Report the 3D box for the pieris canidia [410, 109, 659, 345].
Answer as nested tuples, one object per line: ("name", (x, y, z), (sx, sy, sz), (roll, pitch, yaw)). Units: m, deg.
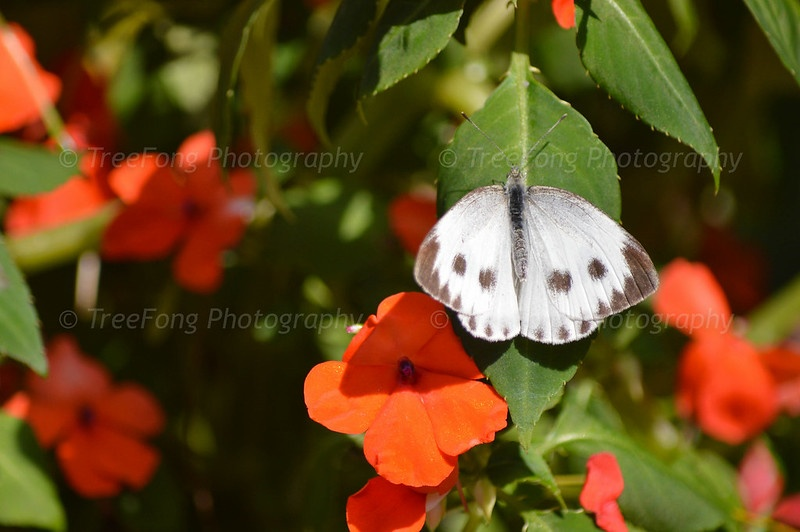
("pieris canidia", (0.191, 0.009, 1.256), (0.347, 0.146, 0.250), (28, 67, 6))
